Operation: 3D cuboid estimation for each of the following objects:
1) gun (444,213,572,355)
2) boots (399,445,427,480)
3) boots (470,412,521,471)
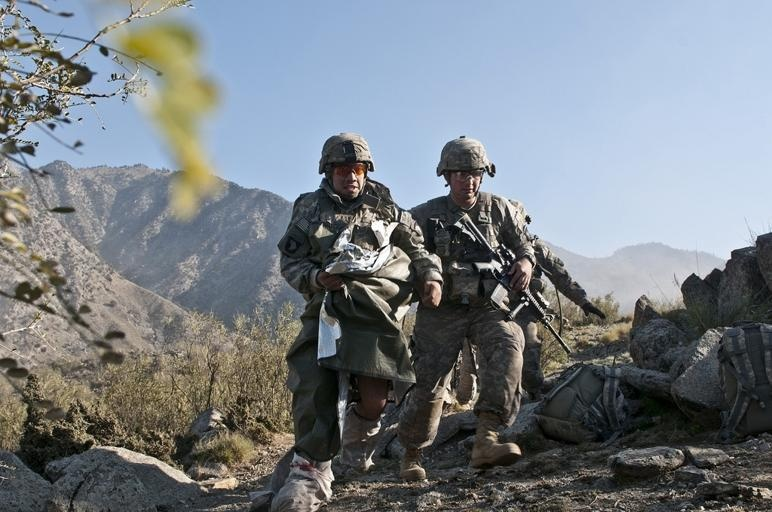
[{"bbox_3d":[1.221,0.308,8.233,1.822,0.715,0.244,54,-46,1],"label":"gun"},{"bbox_3d":[0.251,2.004,7.514,0.167,0.375,0.525,8,-18,-8],"label":"boots"},{"bbox_3d":[1.024,1.698,7.209,0.205,0.524,0.508,27,-37,-33],"label":"boots"}]
